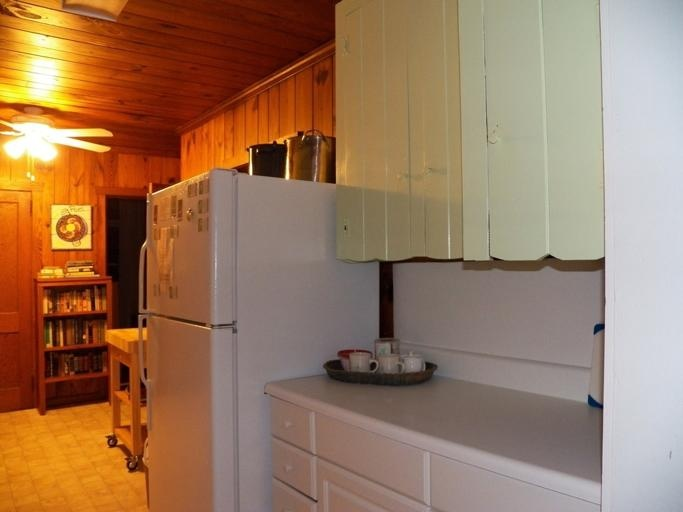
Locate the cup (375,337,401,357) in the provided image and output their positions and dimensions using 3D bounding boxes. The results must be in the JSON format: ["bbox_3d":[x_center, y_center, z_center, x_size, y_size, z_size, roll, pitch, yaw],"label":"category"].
[{"bbox_3d":[0.204,0.408,2.600,0.073,0.076,0.079,2,-1,0],"label":"cup"}]

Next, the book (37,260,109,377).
[{"bbox_3d":[-2.636,0.641,5.604,0.732,1.088,0.366,-9,8,-34],"label":"book"}]

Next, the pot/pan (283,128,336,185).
[{"bbox_3d":[-0.174,-0.480,2.946,0.237,0.275,0.258,2,-3,-19],"label":"pot/pan"}]

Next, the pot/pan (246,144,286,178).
[{"bbox_3d":[-0.379,-0.481,2.953,0.173,0.198,0.190,4,3,28],"label":"pot/pan"}]

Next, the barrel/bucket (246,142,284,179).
[{"bbox_3d":[-0.381,-0.484,2.948,0.173,0.199,0.190,2,3,0],"label":"barrel/bucket"}]

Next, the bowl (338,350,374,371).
[{"bbox_3d":[0.055,0.461,2.567,0.121,0.100,0.086,0,-4,7],"label":"bowl"}]

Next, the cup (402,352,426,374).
[{"bbox_3d":[0.325,0.474,2.523,0.085,0.093,0.070,1,-6,3],"label":"cup"}]

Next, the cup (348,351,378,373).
[{"bbox_3d":[0.093,0.464,2.510,0.105,0.089,0.078,3,-6,-10],"label":"cup"}]

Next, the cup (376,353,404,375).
[{"bbox_3d":[0.211,0.472,2.493,0.059,0.073,0.097,2,0,-27],"label":"cup"}]

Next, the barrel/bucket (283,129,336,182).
[{"bbox_3d":[-0.182,-0.469,2.900,0.235,0.276,0.258,2,0,0],"label":"barrel/bucket"}]
